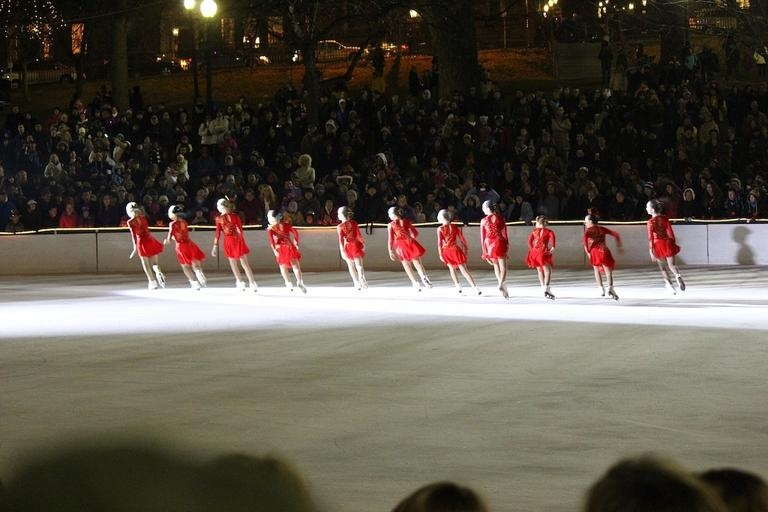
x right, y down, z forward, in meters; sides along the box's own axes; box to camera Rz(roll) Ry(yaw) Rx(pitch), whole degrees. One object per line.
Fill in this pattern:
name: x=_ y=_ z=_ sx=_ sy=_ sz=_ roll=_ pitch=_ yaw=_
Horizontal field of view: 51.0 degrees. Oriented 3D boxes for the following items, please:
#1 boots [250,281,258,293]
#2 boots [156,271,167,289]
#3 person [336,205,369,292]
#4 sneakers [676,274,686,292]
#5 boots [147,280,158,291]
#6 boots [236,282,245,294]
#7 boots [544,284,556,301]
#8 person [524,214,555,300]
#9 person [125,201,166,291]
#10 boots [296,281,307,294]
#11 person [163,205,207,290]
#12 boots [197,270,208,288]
boots: x=-3.006 y=0.714 z=18.663 sx=0.154 sy=0.266 sz=0.345 roll=-2 pitch=6 yaw=-10
boots: x=-5.323 y=0.643 z=19.323 sx=0.186 sy=0.491 sz=0.211 roll=-11 pitch=19 yaw=-11
person: x=-0.717 y=-0.176 z=18.838 sx=0.611 sy=1.900 sz=1.019 roll=-1 pitch=5 yaw=-2
sneakers: x=6.416 y=0.611 z=17.417 sx=0.162 sy=0.208 sz=0.523 roll=-6 pitch=-28 yaw=12
boots: x=-5.535 y=0.725 z=19.348 sx=0.247 sy=0.229 sz=0.243 roll=-2 pitch=4 yaw=-8
boots: x=-3.322 y=0.751 z=18.750 sx=0.254 sy=0.276 sz=0.248 roll=-1 pitch=4 yaw=-8
boots: x=3.427 y=0.738 z=16.581 sx=0.231 sy=0.290 sz=0.483 roll=0 pitch=6 yaw=11
person: x=3.317 y=-0.015 z=17.085 sx=0.567 sy=1.684 sz=1.581 roll=0 pitch=6 yaw=10
person: x=-5.790 y=-0.252 z=19.680 sx=0.813 sy=2.060 sz=1.383 roll=-3 pitch=6 yaw=-17
boots: x=-1.853 y=0.696 z=18.350 sx=0.235 sy=0.303 sz=0.680 roll=-1 pitch=6 yaw=-6
person: x=-4.792 y=-0.182 z=19.366 sx=0.914 sy=1.975 sz=1.410 roll=-2 pitch=6 yaw=-15
boots: x=-4.287 y=0.561 z=19.075 sx=0.304 sy=0.469 sz=0.144 roll=-3 pitch=33 yaw=13
